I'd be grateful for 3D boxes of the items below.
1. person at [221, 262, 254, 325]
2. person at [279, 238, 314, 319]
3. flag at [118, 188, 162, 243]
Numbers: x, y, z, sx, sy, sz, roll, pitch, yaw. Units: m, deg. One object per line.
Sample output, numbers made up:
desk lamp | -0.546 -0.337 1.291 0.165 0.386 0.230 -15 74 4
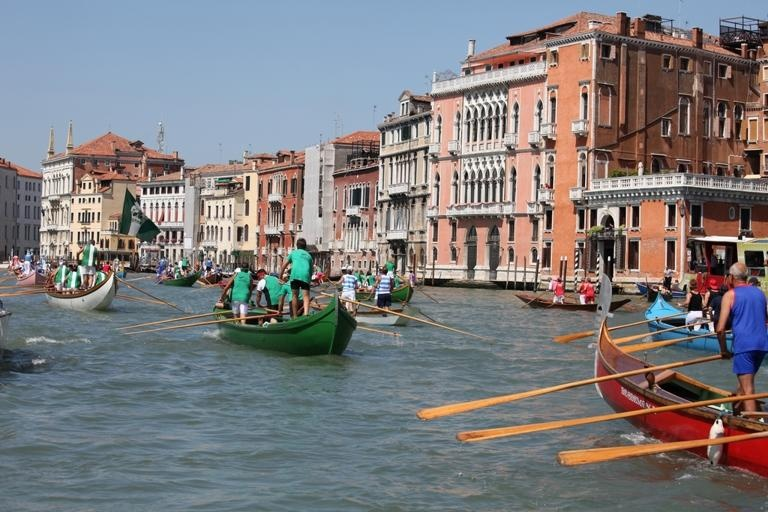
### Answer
person | -4.143 1.038 30.663 0.695 1.763 0.785 1 0 0
person | -2.250 0.564 28.926 0.793 2.149 1.020 1 1 -4
flag | -14.311 -2.458 63.156 1.810 2.815 3.132 1 -3 -11
